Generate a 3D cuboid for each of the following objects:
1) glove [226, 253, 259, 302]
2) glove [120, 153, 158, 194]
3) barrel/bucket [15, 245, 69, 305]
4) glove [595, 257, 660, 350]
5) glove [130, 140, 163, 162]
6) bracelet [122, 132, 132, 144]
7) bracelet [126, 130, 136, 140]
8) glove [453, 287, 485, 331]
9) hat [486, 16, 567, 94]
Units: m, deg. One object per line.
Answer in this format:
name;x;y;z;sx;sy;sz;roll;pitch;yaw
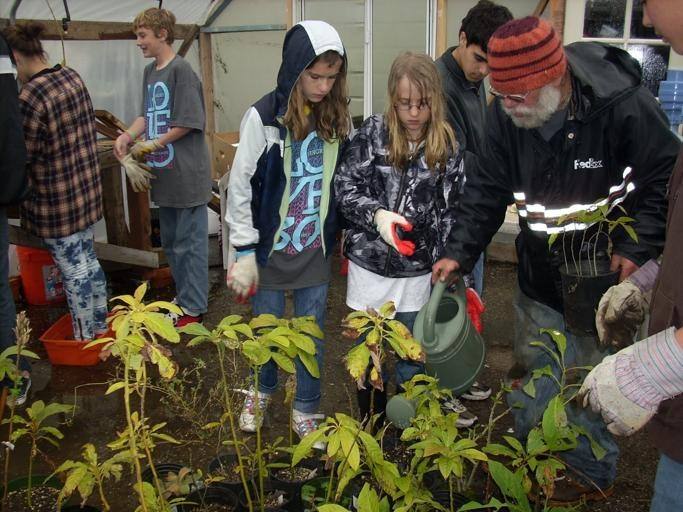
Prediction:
glove;-0.530;0.098;2.838;0.169;0.236;0.094;10;4;-14
glove;-1.659;-0.655;4.250;0.309;0.225;0.112;39;-5;-8
barrel/bucket;-2.576;0.143;4.477;0.406;0.595;0.360;-2;10;-19
glove;1.150;0.179;2.107;0.153;0.316;0.181;22;8;-29
glove;-1.547;-0.830;4.138;0.224;0.161;0.094;-11;-23;-11
bracelet;-1.781;-0.959;4.334;0.054;0.078;0.078;-14;52;-16
bracelet;-1.763;-0.995;4.380;0.059;0.063;0.042;-5;16;-37
glove;0.691;0.307;2.874;0.087;0.266;0.179;-11;11;38
hat;0.827;-0.881;2.414;0.321;0.255;0.343;-26;40;4
